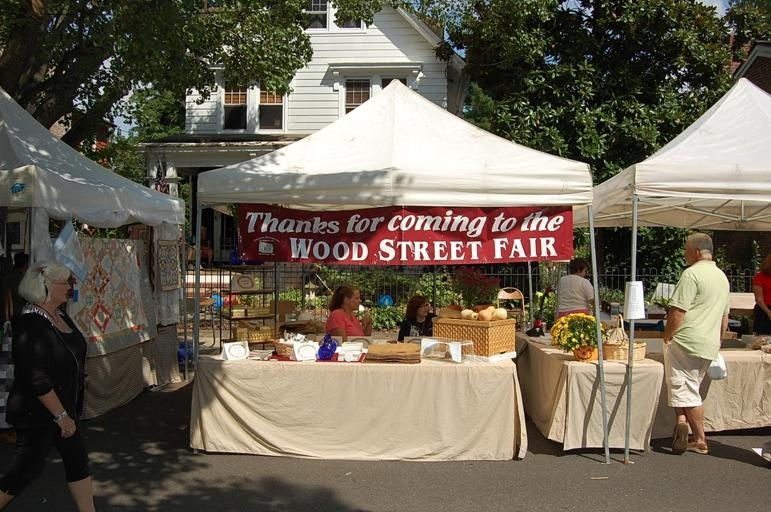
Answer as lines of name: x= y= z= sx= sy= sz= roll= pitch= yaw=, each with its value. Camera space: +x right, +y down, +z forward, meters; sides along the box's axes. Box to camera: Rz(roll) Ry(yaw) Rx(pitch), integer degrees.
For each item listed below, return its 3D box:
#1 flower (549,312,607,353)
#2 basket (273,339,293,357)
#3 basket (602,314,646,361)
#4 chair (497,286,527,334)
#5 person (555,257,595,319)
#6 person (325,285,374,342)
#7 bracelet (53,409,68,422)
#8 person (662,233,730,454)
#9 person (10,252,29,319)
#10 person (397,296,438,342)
flower: x=2.773 y=1.014 z=12.414 sx=0.686 sy=0.662 sz=0.718 roll=1 pitch=16 yaw=14
basket: x=-1.452 y=1.306 z=12.257 sx=0.235 sy=0.131 sz=0.218 roll=2 pitch=-3 yaw=-44
basket: x=3.444 y=1.190 z=12.468 sx=0.704 sy=0.666 sz=0.518 roll=-5 pitch=-12 yaw=40
chair: x=2.113 y=1.006 z=14.790 sx=0.482 sy=0.873 sz=0.516 roll=1 pitch=19 yaw=12
person: x=3.081 y=0.525 z=13.988 sx=0.528 sy=1.009 sz=0.703 roll=-8 pitch=13 yaw=-44
person: x=-0.531 y=0.882 z=13.180 sx=0.663 sy=1.236 sz=0.922 roll=-2 pitch=0 yaw=14
bracelet: x=-3.799 y=1.858 z=10.050 sx=0.111 sy=0.048 sz=0.100 roll=-36 pitch=-10 yaw=5
person: x=4.394 y=1.232 z=12.198 sx=0.860 sy=2.438 sz=0.427 roll=1 pitch=0 yaw=9
person: x=-5.906 y=0.355 z=14.080 sx=0.196 sy=0.744 sz=0.163 roll=-17 pitch=6 yaw=28
person: x=0.473 y=0.949 z=13.358 sx=0.469 sy=0.647 sz=0.925 roll=1 pitch=-1 yaw=9
